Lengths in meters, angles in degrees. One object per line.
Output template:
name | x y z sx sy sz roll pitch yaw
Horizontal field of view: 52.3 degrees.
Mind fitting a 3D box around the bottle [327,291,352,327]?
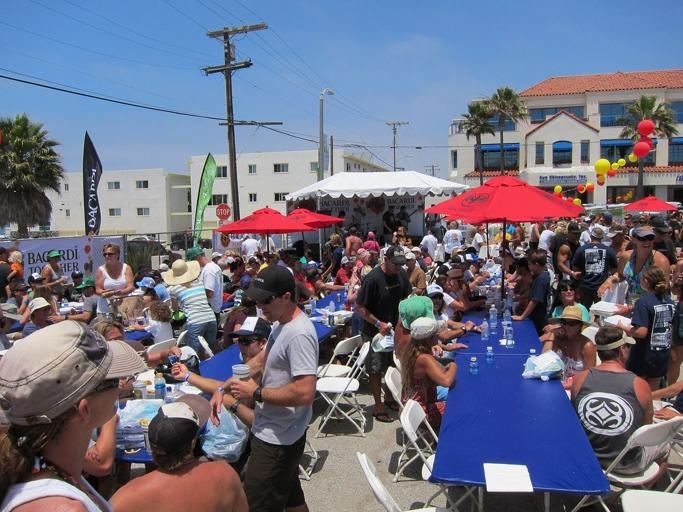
bottle | -0.034 0.861 11.180 0.424 0.259 0.621 0 4 5

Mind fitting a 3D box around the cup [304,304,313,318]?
cup | -0.523 0.869 11.045 0.150 0.243 0.159 0 2 0

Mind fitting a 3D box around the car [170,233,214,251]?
car | -5.833 -0.553 27.050 1.565 0.840 2.602 0 5 1

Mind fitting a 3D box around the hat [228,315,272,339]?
hat | -0.961 0.776 7.621 0.342 0.224 0.236 2 -5 -16

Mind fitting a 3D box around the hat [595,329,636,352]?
hat | 2.821 0.931 7.166 0.365 0.197 0.241 -20 10 -23

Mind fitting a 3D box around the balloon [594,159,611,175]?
balloon | 7.056 -2.396 18.834 0.333 0.499 1.009 2 14 17

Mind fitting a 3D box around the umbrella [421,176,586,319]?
umbrella | 2.304 -0.267 9.699 1.361 1.042 1.419 2 9 37

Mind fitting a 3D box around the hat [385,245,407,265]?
hat | 0.706 -0.015 8.907 0.172 0.148 0.263 -1 21 -26

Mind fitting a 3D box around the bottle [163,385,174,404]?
bottle | -1.809 1.439 7.268 0.115 0.238 0.122 0 -1 0

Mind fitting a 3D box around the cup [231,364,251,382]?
cup | -0.915 1.062 6.336 0.149 0.141 0.163 -2 13 1

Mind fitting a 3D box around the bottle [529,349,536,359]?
bottle | 2.230 1.144 8.168 0.085 0.104 0.084 -3 0 -42

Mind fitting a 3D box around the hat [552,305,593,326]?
hat | 2.708 0.679 8.132 0.391 0.133 0.418 -5 -7 20

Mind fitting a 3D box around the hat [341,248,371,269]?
hat | 0.250 0.104 12.496 0.429 0.229 0.353 -8 12 19

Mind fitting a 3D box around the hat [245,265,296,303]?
hat | -0.632 0.249 6.135 0.433 0.318 0.210 -5 13 -10

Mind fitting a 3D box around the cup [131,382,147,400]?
cup | -2.080 1.377 7.137 0.131 0.171 0.141 0 -2 0

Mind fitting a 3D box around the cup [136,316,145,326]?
cup | -3.063 0.985 10.607 0.087 0.072 0.093 0 -7 0
